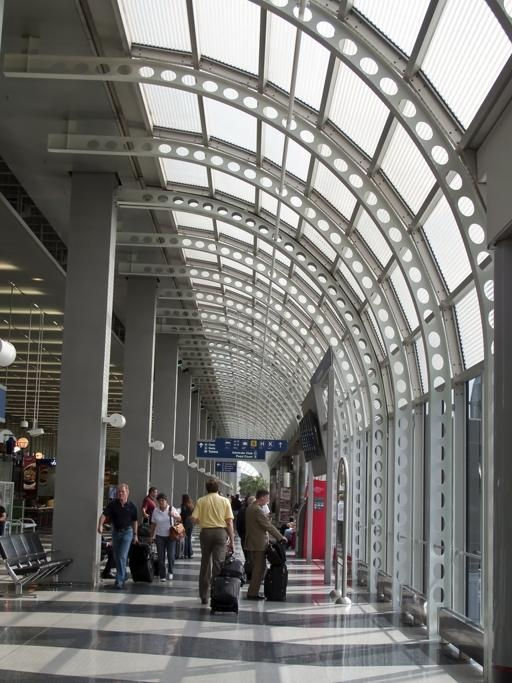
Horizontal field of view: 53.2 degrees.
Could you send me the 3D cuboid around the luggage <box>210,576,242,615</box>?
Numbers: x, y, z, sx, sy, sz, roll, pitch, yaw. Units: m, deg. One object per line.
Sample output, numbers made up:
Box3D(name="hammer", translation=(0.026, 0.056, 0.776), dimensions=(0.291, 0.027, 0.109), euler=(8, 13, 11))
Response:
Box3D(name="luggage", translation=(-0.509, 4.167, 8.407), dimensions=(0.460, 0.562, 0.344), euler=(5, -15, -4))
